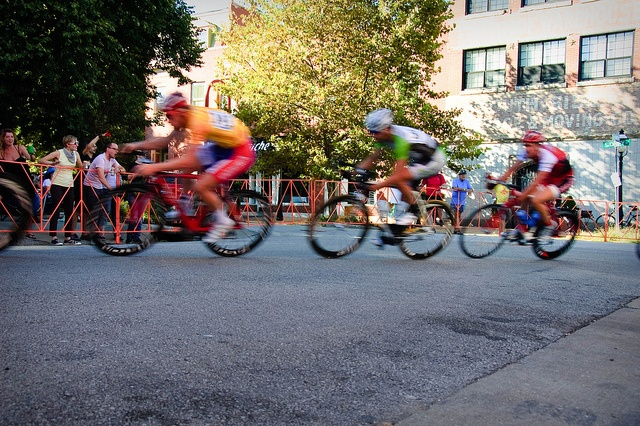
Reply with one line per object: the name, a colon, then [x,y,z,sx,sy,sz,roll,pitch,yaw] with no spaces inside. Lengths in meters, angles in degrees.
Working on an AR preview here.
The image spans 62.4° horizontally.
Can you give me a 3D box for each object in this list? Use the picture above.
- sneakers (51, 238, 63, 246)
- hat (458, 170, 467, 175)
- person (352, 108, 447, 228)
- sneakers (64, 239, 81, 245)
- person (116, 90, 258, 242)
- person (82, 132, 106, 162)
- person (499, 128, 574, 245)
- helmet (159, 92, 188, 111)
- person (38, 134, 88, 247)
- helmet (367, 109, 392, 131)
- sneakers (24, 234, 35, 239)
sneakers: [-4.792,0.538,9.637,0.094,0.096,0.255,2,-2,-45]
hat: [4.487,-1.287,16.767,0.311,0.090,0.301,-1,2,-1]
person: [1.321,-0.693,8.202,1.261,1.768,0.397,-3,13,-20]
sneakers: [-4.649,0.539,9.877,0.368,0.136,0.122,1,0,9]
person: [-1.665,-0.636,7.605,1.375,2.116,0.479,0,12,-6]
person: [-6.355,-1.882,14.830,0.586,0.409,1.811,17,-17,-31]
person: [3.820,-0.436,9.036,1.045,1.845,0.514,-2,13,-15]
helmet: [-2.078,-1.580,7.549,0.371,0.206,0.244,-7,17,-5]
person: [-4.800,-0.533,9.823,0.626,1.722,0.777,0,12,-6]
helmet: [0.888,-1.386,7.982,0.406,0.345,0.259,2,12,3]
sneakers: [-5.594,0.446,10.264,0.287,0.106,0.093,6,13,28]
